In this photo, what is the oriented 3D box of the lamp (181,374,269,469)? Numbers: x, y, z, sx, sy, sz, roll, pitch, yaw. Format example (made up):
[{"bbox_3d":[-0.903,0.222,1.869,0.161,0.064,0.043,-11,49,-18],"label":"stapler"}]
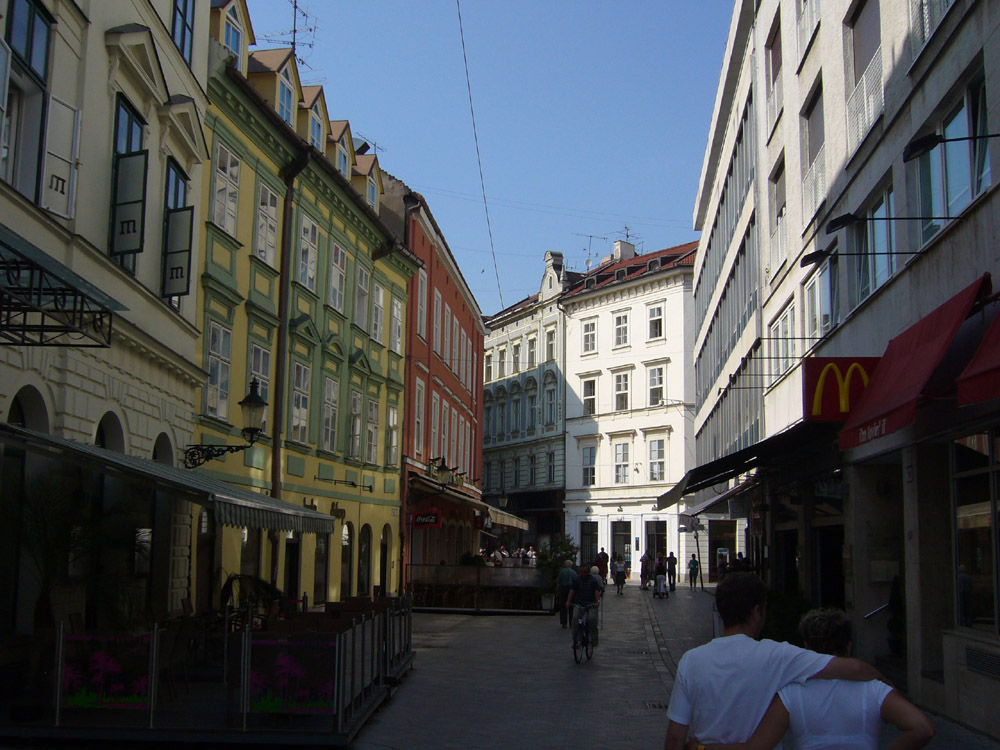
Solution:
[{"bbox_3d":[-5.933,0.939,22.132,1.528,2.223,0.585,-3,-14,15],"label":"lamp"}]
